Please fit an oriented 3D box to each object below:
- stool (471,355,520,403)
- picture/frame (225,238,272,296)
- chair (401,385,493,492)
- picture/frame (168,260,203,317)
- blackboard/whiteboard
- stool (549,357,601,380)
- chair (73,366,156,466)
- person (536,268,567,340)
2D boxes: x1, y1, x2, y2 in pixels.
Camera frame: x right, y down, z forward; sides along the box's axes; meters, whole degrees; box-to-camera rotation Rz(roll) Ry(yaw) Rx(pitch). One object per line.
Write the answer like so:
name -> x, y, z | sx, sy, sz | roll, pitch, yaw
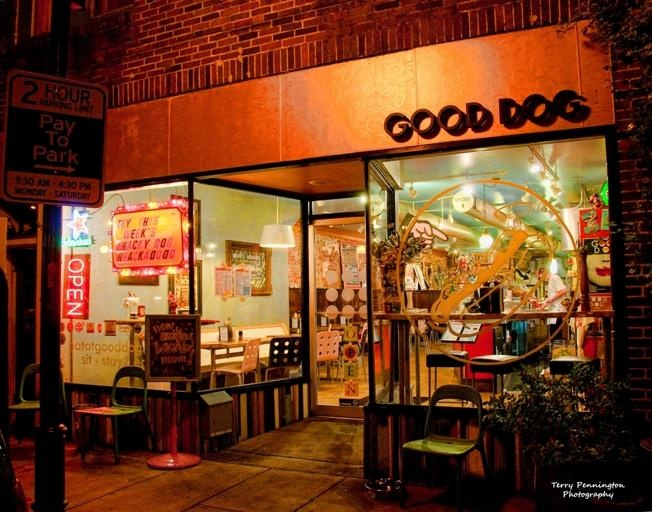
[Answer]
stool -> 1.698, 1.248, 6.451 | 0.495, 0.682, 0.477 | -4, -4, 28
picture/frame -> -1.077, 0.141, 8.464 | 0.054, 0.737, 0.721 | -6, -9, 34
chair -> 1.084, 1.723, 5.718 | 0.834, 1.001, 0.811 | 0, -2, -25
picture/frame -> -1.726, 0.392, 7.686 | 0.345, 0.640, 0.027 | 4, -23, -22
blackboard/whiteboard -> -1.732, 1.064, 7.030 | 0.714, 0.848, 0.062 | -1, -8, -4
stool -> 2.265, 1.066, 5.696 | 0.448, 0.198, 0.707 | -2, 0, 23
chair -> -2.453, 1.822, 7.282 | 0.792, 0.981, 0.797 | -2, -4, 1
person -> 2.253, 0.455, 6.183 | 0.255, 0.669, 0.810 | -2, 0, 20
